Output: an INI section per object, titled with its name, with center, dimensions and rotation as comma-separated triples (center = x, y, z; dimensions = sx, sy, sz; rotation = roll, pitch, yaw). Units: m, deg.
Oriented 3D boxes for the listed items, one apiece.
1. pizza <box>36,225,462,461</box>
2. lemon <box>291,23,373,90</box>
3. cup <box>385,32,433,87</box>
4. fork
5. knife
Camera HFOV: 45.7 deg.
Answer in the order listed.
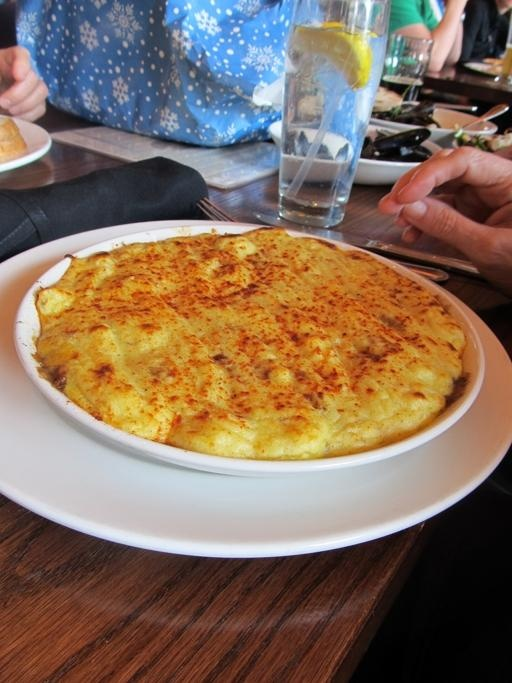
[pizza]
center = 0.011, 0.026, 0.620
dimensions = 0.327, 0.031, 0.278
rotation = 1, 26, -26
[lemon]
center = 0.113, -0.428, 0.903
dimensions = 0.100, 0.096, 0.029
rotation = 20, 66, -25
[cup]
center = 0.630, -1.183, 2.593
dimensions = 0.220, 0.209, 0.205
rotation = 5, 30, -3
[fork]
center = 0.106, -0.162, 0.947
dimensions = 0.427, 0.039, 0.025
rotation = 12, 17, -9
[knife]
center = 0.175, -0.149, 0.935
dimensions = 0.447, 0.052, 0.019
rotation = 15, 56, 17
